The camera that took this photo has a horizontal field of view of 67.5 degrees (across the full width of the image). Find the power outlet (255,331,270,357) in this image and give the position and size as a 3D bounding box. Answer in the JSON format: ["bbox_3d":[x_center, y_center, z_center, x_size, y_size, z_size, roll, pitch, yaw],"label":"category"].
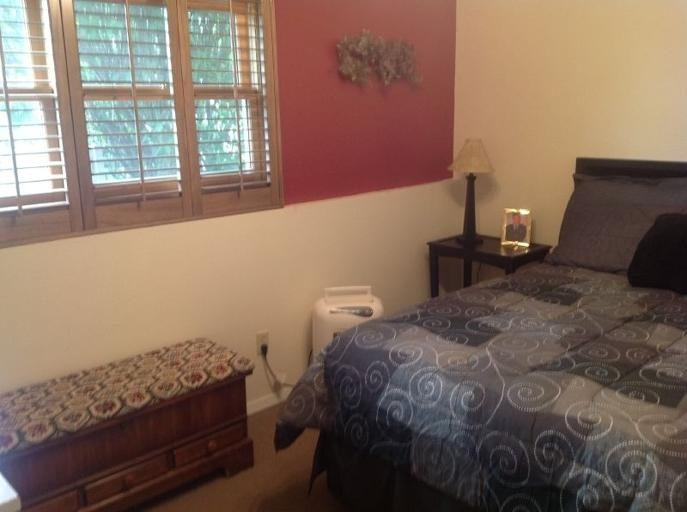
[{"bbox_3d":[-0.460,0.508,2.978,0.094,0.142,0.038,-14,20,-37],"label":"power outlet"}]

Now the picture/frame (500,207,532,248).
[{"bbox_3d":[1.184,-0.189,3.514,0.253,0.338,0.056,3,-1,37],"label":"picture/frame"}]
